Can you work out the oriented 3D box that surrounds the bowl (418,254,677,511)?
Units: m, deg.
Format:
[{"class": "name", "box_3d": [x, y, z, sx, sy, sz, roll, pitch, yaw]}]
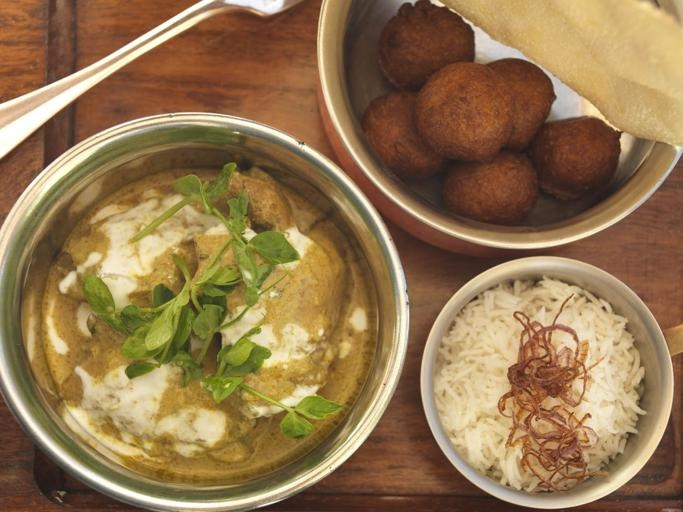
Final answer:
[{"class": "bowl", "box_3d": [0.311, 0.195, 1.185, 0.382, 0.109, 0.383, 0, 80, -3]}]
